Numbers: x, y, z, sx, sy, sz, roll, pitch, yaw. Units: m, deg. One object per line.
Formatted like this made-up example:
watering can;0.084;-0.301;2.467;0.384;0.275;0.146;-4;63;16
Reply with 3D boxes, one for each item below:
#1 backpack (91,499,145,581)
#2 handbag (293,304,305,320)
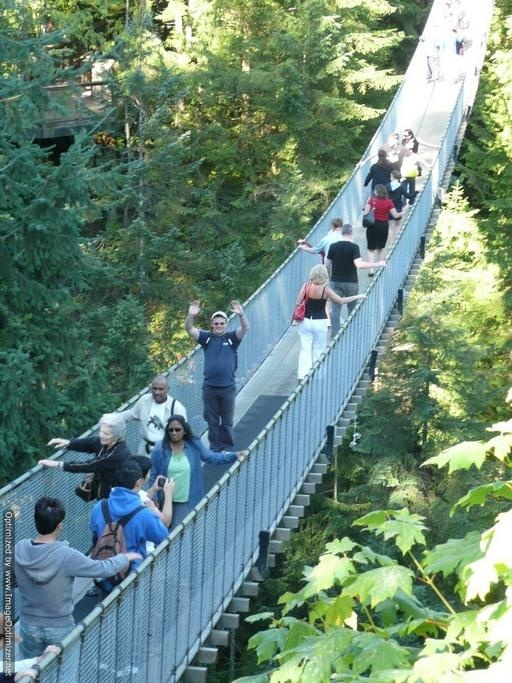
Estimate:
backpack;-0.776;1.086;6.299;0.244;0.377;0.212;-16;33;-41
handbag;0.398;-0.265;10.092;0.076;0.154;0.133;20;10;5
